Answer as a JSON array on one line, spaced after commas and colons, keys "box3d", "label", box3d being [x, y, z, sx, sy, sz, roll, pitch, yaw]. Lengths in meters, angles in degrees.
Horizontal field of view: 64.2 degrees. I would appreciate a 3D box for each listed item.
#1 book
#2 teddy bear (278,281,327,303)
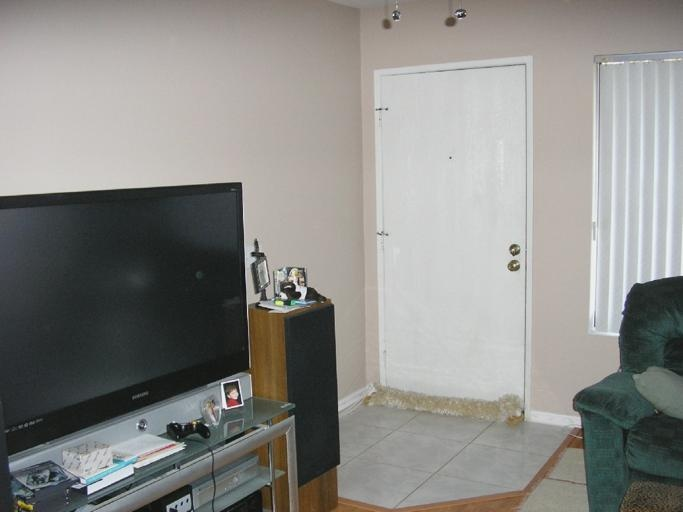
[{"box3d": [-0.853, 0.782, 2.159, 0.439, 0.147, 0.173, -9, 10, -44], "label": "book"}, {"box3d": [-0.228, 0.208, 3.044, 0.163, 0.075, 0.147, 4, 6, 22], "label": "teddy bear"}]
